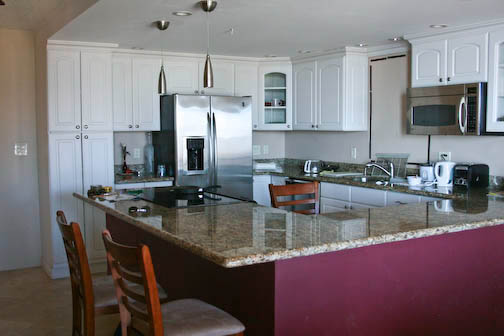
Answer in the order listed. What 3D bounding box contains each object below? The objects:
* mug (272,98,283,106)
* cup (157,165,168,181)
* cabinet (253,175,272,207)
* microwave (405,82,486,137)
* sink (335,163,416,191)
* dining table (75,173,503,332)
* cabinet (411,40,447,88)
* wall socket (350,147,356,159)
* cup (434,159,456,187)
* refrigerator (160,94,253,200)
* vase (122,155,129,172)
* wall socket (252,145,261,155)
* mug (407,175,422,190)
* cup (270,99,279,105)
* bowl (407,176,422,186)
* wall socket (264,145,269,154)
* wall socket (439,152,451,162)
[{"bbox_3d":[0.407,-1.052,6.109,0.149,0.091,0.088,2,-3,3],"label":"mug"},{"bbox_3d":[-1.282,0.076,5.409,0.149,0.215,0.245,1,1,34],"label":"cup"},{"bbox_3d":[0.170,0.353,5.899,0.281,0.467,0.180,1,7,5],"label":"cabinet"},{"bbox_3d":[2.189,-0.659,4.694,0.996,0.551,0.552,-2,3,-10],"label":"microwave"},{"bbox_3d":[1.645,0.132,4.995,0.672,0.212,0.473,0,1,-41],"label":"sink"},{"bbox_3d":[0.336,0.608,2.731,1.543,0.355,1.673,-4,8,-37],"label":"dining table"},{"bbox_3d":[2.105,-1.271,4.707,0.477,0.539,0.403,-7,11,-11],"label":"cabinet"},{"bbox_3d":[1.535,-0.219,5.708,0.009,0.173,0.098,-6,9,-42],"label":"wall socket"},{"bbox_3d":[2.254,0.068,4.395,0.322,0.299,0.223,-2,8,-31],"label":"cup"},{"bbox_3d":[-0.593,-0.283,5.542,1.236,1.502,0.353,-3,7,-22],"label":"refrigerator"},{"bbox_3d":[-1.889,-0.062,5.661,0.100,0.242,0.166,-2,7,-18],"label":"vase"},{"bbox_3d":[0.075,-0.310,6.586,0.216,0.184,0.109,-2,0,-32],"label":"wall socket"},{"bbox_3d":[1.905,0.173,4.412,0.194,0.155,0.150,3,-1,-26],"label":"mug"},{"bbox_3d":[0.367,-1.051,6.107,0.097,0.062,0.091,2,1,0],"label":"cup"},{"bbox_3d":[1.942,0.159,4.507,0.129,0.069,0.111,2,0,27],"label":"bowl"},{"bbox_3d":[0.265,-0.318,6.681,0.092,0.148,0.023,-4,8,-34],"label":"wall socket"},{"bbox_3d":[2.399,-0.136,4.701,0.144,0.112,0.076,4,8,33],"label":"wall socket"}]
